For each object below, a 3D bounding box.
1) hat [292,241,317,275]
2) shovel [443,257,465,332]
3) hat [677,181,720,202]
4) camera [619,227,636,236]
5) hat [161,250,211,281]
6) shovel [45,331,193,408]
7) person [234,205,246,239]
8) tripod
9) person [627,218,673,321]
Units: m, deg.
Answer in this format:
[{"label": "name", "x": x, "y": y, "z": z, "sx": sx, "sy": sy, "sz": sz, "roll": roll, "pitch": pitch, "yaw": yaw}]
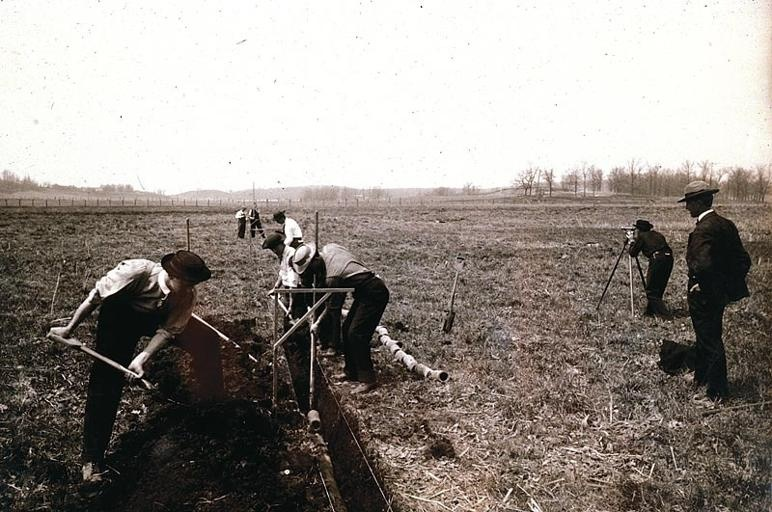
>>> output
[{"label": "hat", "x": -1.648, "y": 0.098, "z": 14.450, "sx": 0.210, "sy": 0.604, "sz": 0.504, "roll": 28, "pitch": 8, "yaw": -45}, {"label": "shovel", "x": 1.714, "y": 1.021, "z": 17.608, "sx": 0.263, "sy": 1.691, "sz": 0.245, "roll": 12, "pitch": 1, "yaw": -9}, {"label": "hat", "x": 6.082, "y": -1.296, "z": 13.646, "sx": 0.631, "sy": 0.254, "sz": 0.591, "roll": -16, "pitch": -4, "yaw": 28}, {"label": "camera", "x": 5.829, "y": -0.606, "z": 16.832, "sx": 0.222, "sy": 0.124, "sz": 0.317, "roll": 3, "pitch": 5, "yaw": -1}, {"label": "hat", "x": -3.661, "y": 0.169, "z": 12.755, "sx": 0.671, "sy": 0.237, "sz": 0.626, "roll": 28, "pitch": 22, "yaw": -6}, {"label": "shovel", "x": -5.190, "y": 2.239, "z": 13.488, "sx": 2.282, "sy": 0.365, "sz": 0.240, "roll": 35, "pitch": 32, "yaw": 3}, {"label": "person", "x": -5.563, "y": -1.268, "z": 26.901, "sx": 0.374, "sy": 1.224, "sz": 1.688, "roll": -3, "pitch": 8, "yaw": -12}, {"label": "tripod", "x": 6.135, "y": 0.592, "z": 18.168, "sx": 1.483, "sy": 2.262, "sz": 1.287, "roll": 6, "pitch": -5, "yaw": -1}, {"label": "person", "x": 6.262, "y": 0.413, "z": 16.463, "sx": 0.886, "sy": 1.953, "sz": 0.502, "roll": 4, "pitch": 8, "yaw": 34}]
